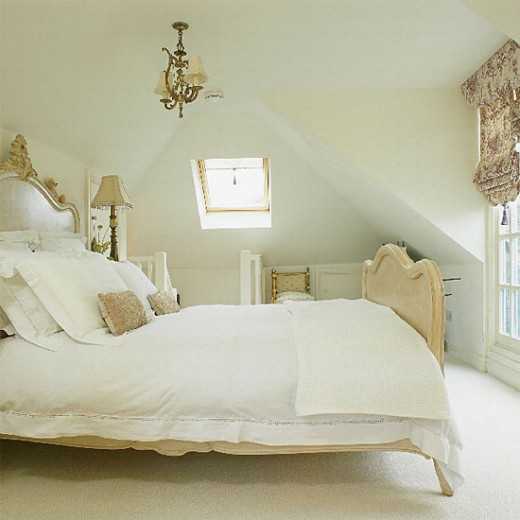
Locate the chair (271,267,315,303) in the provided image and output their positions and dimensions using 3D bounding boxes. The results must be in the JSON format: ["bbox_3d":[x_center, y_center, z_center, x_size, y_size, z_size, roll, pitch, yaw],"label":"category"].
[{"bbox_3d":[0.397,0.295,6.615,0.395,0.435,0.422,-1,-4,-2],"label":"chair"}]

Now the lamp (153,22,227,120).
[{"bbox_3d":[-0.464,-1.115,3.175,0.304,0.550,0.280,-5,-2,-43],"label":"lamp"}]
